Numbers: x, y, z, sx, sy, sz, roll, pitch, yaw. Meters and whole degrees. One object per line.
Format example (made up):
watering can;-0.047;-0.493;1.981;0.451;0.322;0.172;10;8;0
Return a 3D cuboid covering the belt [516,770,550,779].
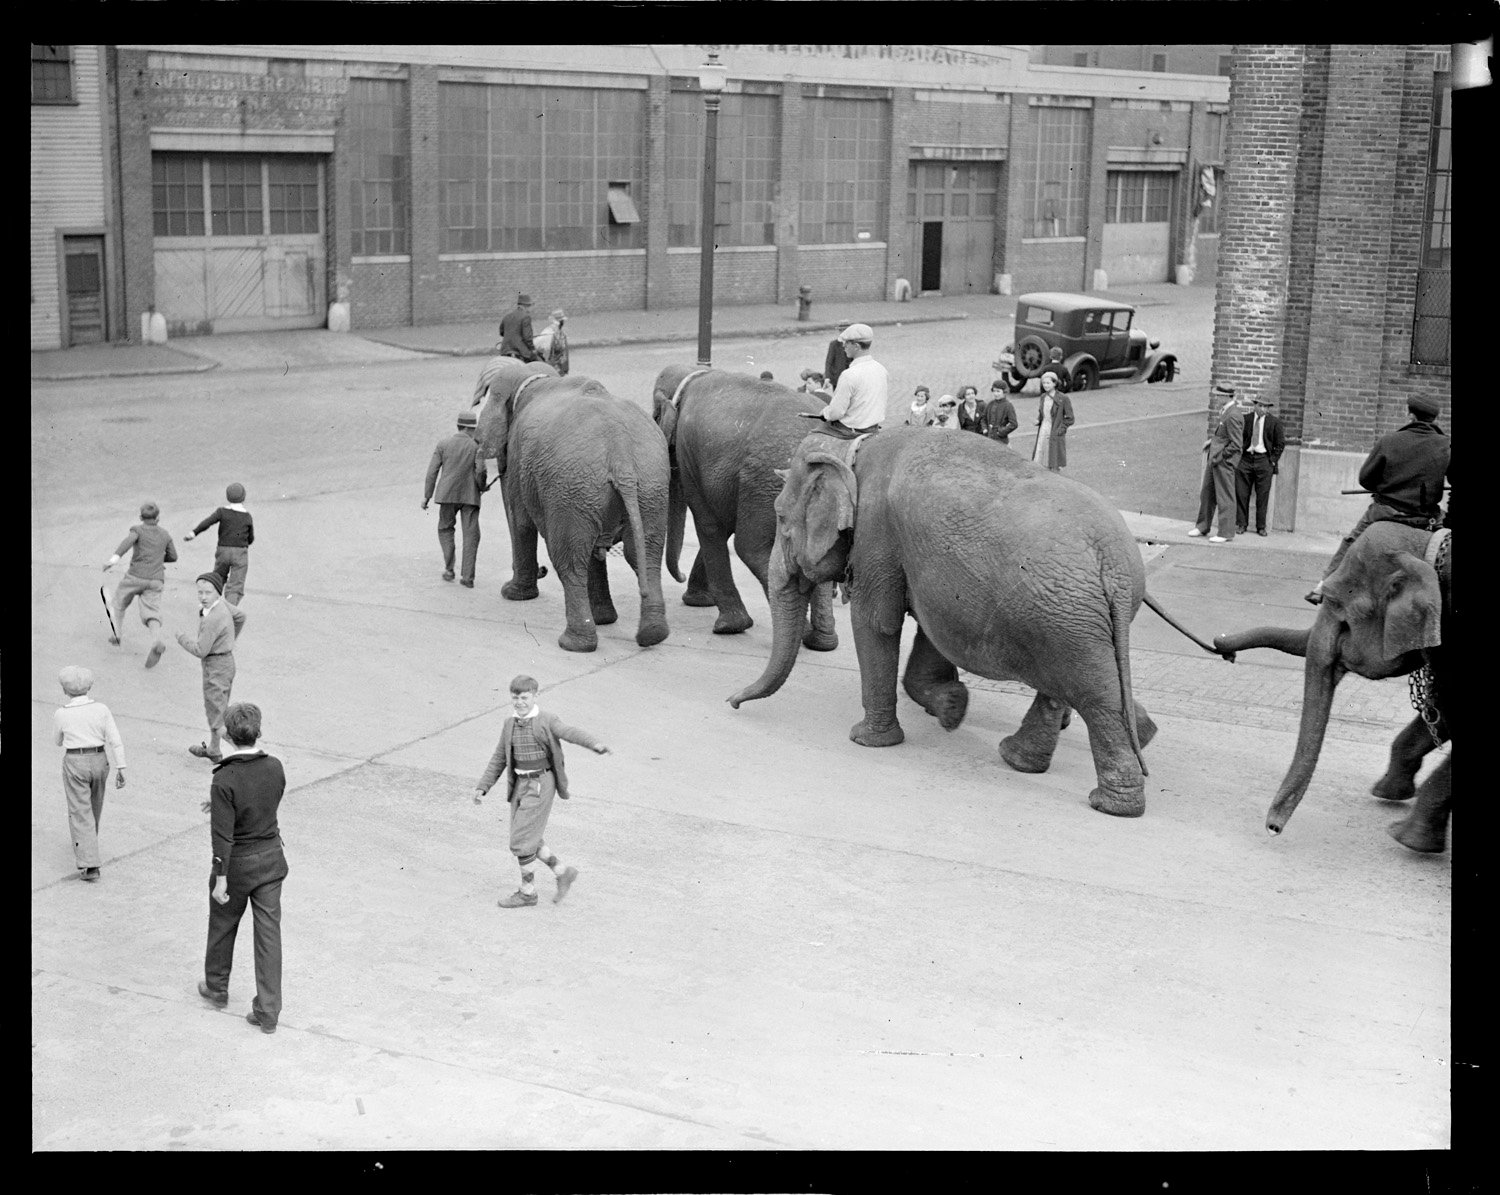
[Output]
belt;-1.285;1.035;9.768;0.166;0.047;0.041;-3;15;-16

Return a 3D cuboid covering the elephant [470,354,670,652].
elephant;-1.947;-1.029;16.578;1.357;2.526;4.190;-5;15;-29

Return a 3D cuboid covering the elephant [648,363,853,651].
elephant;-0.186;-0.913;16.191;1.219;2.560;2.979;-6;14;-34

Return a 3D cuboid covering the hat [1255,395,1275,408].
hat;6.166;-2.367;19.937;0.158;0.093;0.231;3;11;5

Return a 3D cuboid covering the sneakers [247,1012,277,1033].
sneakers;-2.514;2.182;8.501;0.065;0.081;0.182;-10;36;-45

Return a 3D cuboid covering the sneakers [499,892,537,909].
sneakers;-1.392;1.787;9.885;0.189;0.086;0.098;3;4;7

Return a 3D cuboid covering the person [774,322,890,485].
person;0.814;-1.628;14.756;0.943;1.562;0.587;7;15;31

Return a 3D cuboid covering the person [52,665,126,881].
person;-4.022;1.006;10.105;0.353;1.281;0.801;-5;15;-22

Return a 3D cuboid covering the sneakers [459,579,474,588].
sneakers;-2.940;-0.175;17.087;0.053;0.112;0.157;-11;26;-40

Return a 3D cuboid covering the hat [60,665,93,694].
hat;-4.017;0.475;9.876;0.145;0.174;0.199;-4;32;-24

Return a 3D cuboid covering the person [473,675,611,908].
person;-1.292;1.136;9.872;0.662;1.383;0.396;-1;14;-10

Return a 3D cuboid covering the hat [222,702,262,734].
hat;-2.655;0.623;8.606;0.169;0.210;0.224;0;8;-11

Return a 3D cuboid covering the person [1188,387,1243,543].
person;5.633;-1.503;19.963;0.514;1.585;0.572;6;15;17

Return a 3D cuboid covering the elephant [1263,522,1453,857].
elephant;3.982;0.599;10.832;0.995;2.143;0.800;6;15;19

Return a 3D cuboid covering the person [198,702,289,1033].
person;-2.570;1.382;8.549;0.596;1.591;0.408;14;19;41

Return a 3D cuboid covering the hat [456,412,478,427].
hat;-2.893;-1.833;16.934;0.170;0.089;0.177;5;7;31

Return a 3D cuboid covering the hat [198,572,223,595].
hat;-4.002;-0.108;12.282;0.125;0.162;0.165;-22;-2;-11
